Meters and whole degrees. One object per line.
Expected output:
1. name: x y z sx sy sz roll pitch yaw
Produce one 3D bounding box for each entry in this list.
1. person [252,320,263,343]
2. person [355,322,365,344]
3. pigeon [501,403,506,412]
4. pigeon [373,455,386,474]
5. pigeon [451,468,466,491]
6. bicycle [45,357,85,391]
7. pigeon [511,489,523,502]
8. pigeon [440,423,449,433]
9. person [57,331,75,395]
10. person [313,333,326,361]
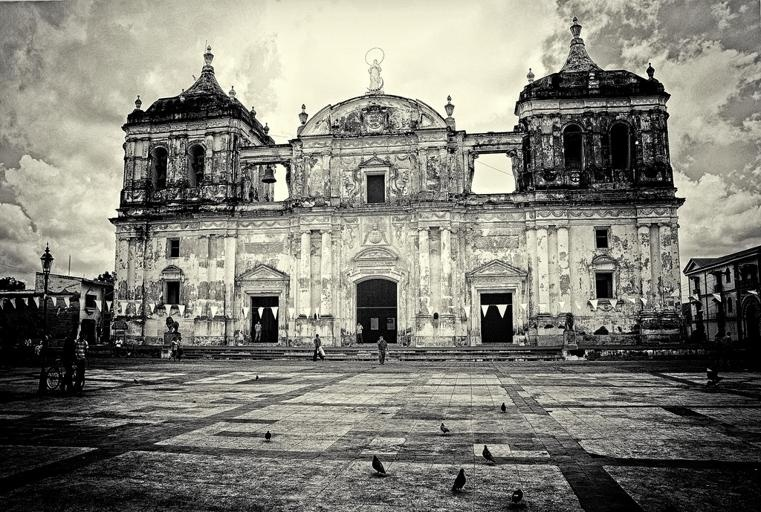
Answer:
1. person: -7.877 4.785 47.464 0.573 1.443 0.707 0 -9 -6
2. person: -1.302 4.755 46.130 0.412 1.316 0.752 -1 -9 0
3. pigeon: 3.576 4.457 21.694 0.075 0.210 0.121 12 -18 -38
4. pigeon: -0.050 4.808 16.934 0.144 0.268 0.472 -12 -42 15
5. pigeon: 1.745 4.990 16.597 0.306 0.460 0.619 -2 -9 5
6. bicycle: -10.702 4.027 25.247 1.671 1.030 0.737 1 -5 13
7. pigeon: 2.945 5.158 15.964 0.264 0.302 0.176 1 -9 -14
8. pigeon: 1.682 4.563 19.591 0.159 0.263 0.242 -2 -28 -24
9. person: -10.611 3.673 25.252 0.449 1.910 0.683 3 -9 -23
10. person: -3.312 4.962 40.180 0.654 1.430 1.987 0 -9 -5
